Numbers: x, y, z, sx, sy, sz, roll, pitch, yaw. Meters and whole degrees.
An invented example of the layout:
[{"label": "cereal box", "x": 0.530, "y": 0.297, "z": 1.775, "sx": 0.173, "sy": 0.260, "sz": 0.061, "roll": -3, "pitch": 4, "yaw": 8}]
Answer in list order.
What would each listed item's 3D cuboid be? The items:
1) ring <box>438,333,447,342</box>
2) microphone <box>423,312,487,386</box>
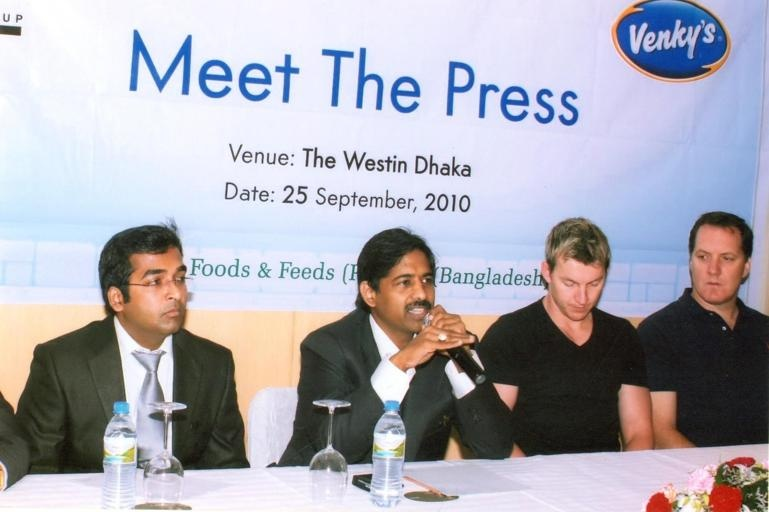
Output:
[{"label": "ring", "x": 0.285, "y": 0.399, "z": 3.437, "sx": 0.037, "sy": 0.034, "sz": 0.012, "roll": -1, "pitch": -11, "yaw": 5}, {"label": "microphone", "x": 0.362, "y": 0.446, "z": 3.355, "sx": 0.123, "sy": 0.093, "sz": 0.681, "roll": 8, "pitch": 14, "yaw": -18}]
